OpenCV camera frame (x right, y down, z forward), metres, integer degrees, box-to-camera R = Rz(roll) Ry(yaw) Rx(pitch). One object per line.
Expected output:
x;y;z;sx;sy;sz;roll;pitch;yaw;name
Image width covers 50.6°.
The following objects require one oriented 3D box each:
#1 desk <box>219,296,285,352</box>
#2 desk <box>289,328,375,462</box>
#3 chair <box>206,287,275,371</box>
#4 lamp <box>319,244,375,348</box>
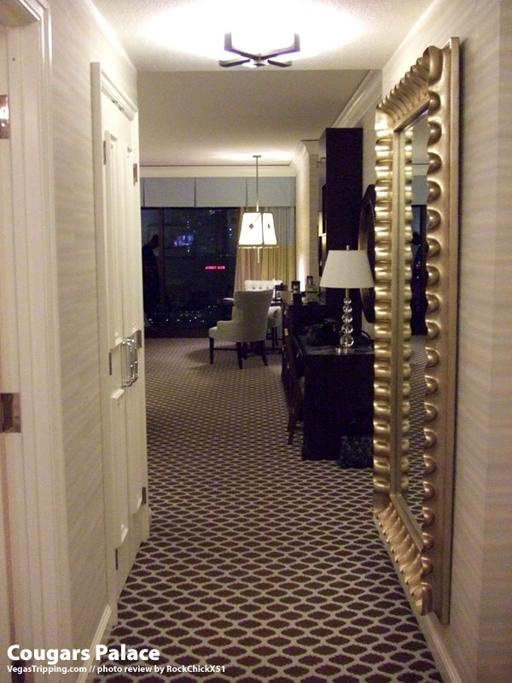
-0.114;-0.265;9.039;0.841;1.251;0.965;1;11;4;desk
0.557;0.449;4.308;0.582;0.836;1.258;-1;12;0;desk
-0.054;-0.268;8.030;0.988;1.607;0.932;9;12;40;chair
0.687;-0.325;4.068;0.366;0.763;1.007;0;5;10;lamp
